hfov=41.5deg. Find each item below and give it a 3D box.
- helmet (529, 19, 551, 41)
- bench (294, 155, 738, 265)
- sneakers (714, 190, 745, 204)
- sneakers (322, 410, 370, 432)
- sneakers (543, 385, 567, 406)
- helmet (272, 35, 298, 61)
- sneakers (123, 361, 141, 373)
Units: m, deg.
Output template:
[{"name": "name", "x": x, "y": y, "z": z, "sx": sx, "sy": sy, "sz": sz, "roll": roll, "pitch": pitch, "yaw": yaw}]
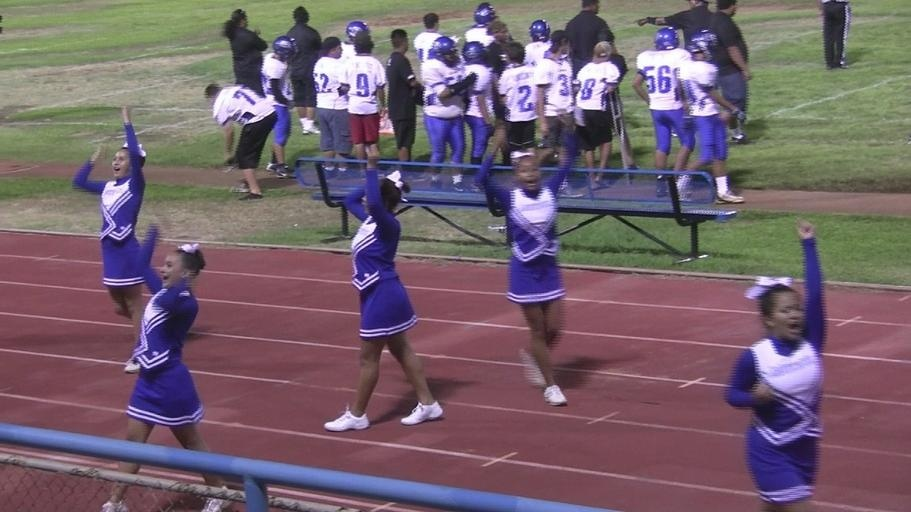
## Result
[{"name": "helmet", "x": 1.613, "y": -4.371, "z": 23.131, "sx": 0.620, "sy": 0.531, "sz": 0.190, "roll": 1, "pitch": -27, "yaw": 2}, {"name": "bench", "x": 0.934, "y": -0.840, "z": 21.913, "sx": 9.264, "sy": 1.310, "sz": 1.755, "roll": 5, "pitch": -5, "yaw": 40}, {"name": "sneakers", "x": 4.975, "y": -1.051, "z": 21.870, "sx": 0.549, "sy": 0.138, "sz": 0.195, "roll": 0, "pitch": 10, "yaw": 8}, {"name": "sneakers", "x": -1.445, "y": 2.245, "z": 16.138, "sx": 0.804, "sy": 0.224, "sz": 0.224, "roll": 1, "pitch": 1, "yaw": -4}, {"name": "sneakers", "x": 1.325, "y": 1.919, "z": 16.496, "sx": 0.277, "sy": 0.110, "sz": 0.341, "roll": -27, "pitch": 45, "yaw": -19}, {"name": "helmet", "x": -3.448, "y": -4.140, "z": 24.038, "sx": 0.410, "sy": 0.456, "sz": 0.513, "roll": -8, "pitch": 16, "yaw": -7}, {"name": "sneakers", "x": -4.688, "y": 1.638, "z": 17.385, "sx": 0.280, "sy": 0.095, "sz": 0.256, "roll": 9, "pitch": 35, "yaw": 0}]
